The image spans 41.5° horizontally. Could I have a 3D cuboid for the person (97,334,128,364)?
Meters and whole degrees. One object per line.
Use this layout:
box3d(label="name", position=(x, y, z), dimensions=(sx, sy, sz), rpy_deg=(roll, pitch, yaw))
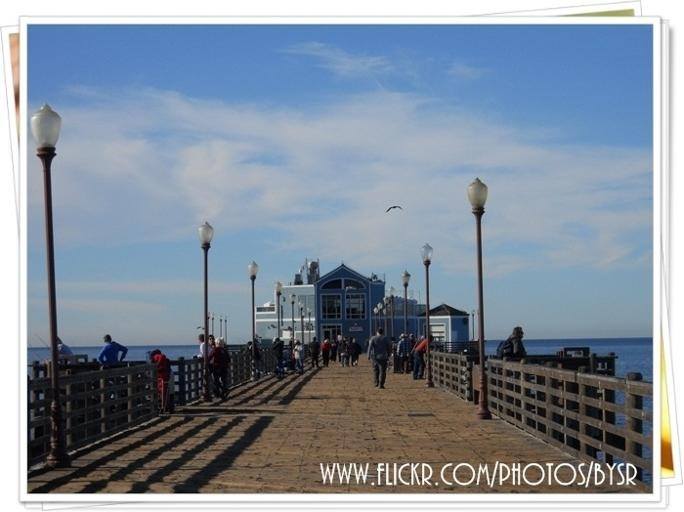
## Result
box3d(label="person", position=(-5.610, 2.277, 22.025), dimensions=(0.648, 0.755, 2.029), rpy_deg=(-1, -6, -15))

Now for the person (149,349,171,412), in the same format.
box3d(label="person", position=(-4.528, 3.100, 22.539), dimensions=(0.457, 1.567, 1.117), rpy_deg=(-1, -5, -12))
